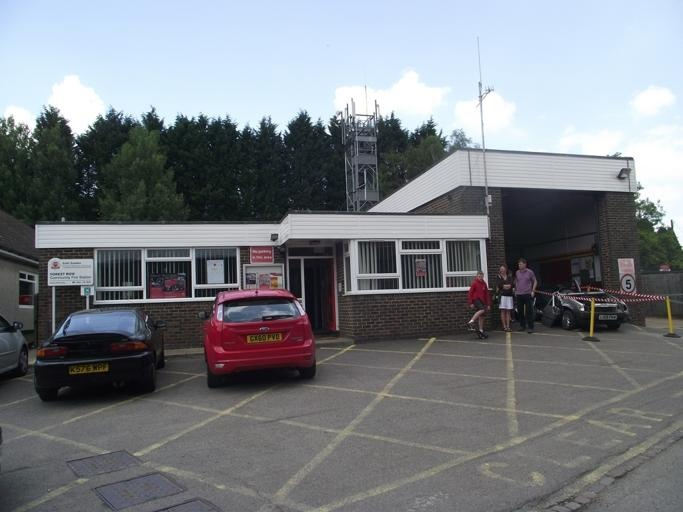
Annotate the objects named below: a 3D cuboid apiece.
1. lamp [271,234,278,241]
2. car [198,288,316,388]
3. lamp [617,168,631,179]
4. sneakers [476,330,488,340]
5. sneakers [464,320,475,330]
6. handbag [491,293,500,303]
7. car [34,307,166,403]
[{"bbox_3d":[-2.102,-0.596,17.655,0.239,0.256,0.261,-2,1,-9],"label":"lamp"},{"bbox_3d":[-1.490,1.438,10.241,1.287,1.229,2.428,-1,1,-13],"label":"car"},{"bbox_3d":[10.217,-2.963,19.890,0.510,0.401,0.181,-2,2,-23],"label":"lamp"},{"bbox_3d":[4.030,2.206,15.706,0.280,0.240,0.470,-1,1,15],"label":"sneakers"},{"bbox_3d":[3.905,2.092,16.821,0.415,0.314,0.243,1,-4,-22],"label":"sneakers"},{"bbox_3d":[4.937,1.351,17.600,0.388,0.317,0.589,-2,-12,15],"label":"handbag"},{"bbox_3d":[-4.581,1.881,10.479,2.134,1.555,1.958,-2,2,-27],"label":"car"}]
